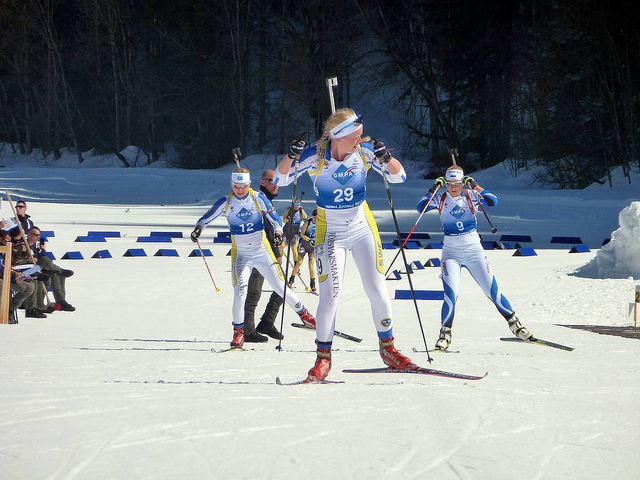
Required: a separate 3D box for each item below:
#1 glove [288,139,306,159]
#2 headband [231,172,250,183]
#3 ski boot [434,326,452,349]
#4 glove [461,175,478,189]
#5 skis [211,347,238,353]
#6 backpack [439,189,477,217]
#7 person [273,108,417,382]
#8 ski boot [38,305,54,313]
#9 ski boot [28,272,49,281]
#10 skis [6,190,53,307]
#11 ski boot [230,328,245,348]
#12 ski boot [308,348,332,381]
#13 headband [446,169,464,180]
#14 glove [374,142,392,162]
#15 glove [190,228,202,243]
[{"bbox_3d":[-0.273,-1.023,9.661,0.153,0.185,0.199,10,3,25],"label":"glove"},{"bbox_3d":[-1.092,-0.841,11.690,0.177,0.088,0.170,-4,7,-39],"label":"headband"},{"bbox_3d":[1.612,1.299,11.388,0.152,0.250,0.371,0,8,19],"label":"ski boot"},{"bbox_3d":[2.099,-0.820,11.960,0.210,0.079,0.153,34,-6,-16],"label":"glove"},{"bbox_3d":[-1.307,1.447,11.297,0.366,0.037,0.241,1,9,22],"label":"skis"},{"bbox_3d":[1.893,-0.541,11.942,0.318,0.455,0.441,-6,-3,10],"label":"backpack"},{"bbox_3d":[0.295,0.060,9.849,1.374,3.081,0.496,-4,8,-4],"label":"person"},{"bbox_3d":[-4.284,1.097,13.539,0.079,0.121,0.319,0,8,22],"label":"ski boot"},{"bbox_3d":[-4.288,0.566,13.221,0.265,0.155,0.227,-4,8,-10],"label":"ski boot"},{"bbox_3d":[-5.466,0.142,16.322,0.060,3.190,0.236,-28,-11,16],"label":"skis"},{"bbox_3d":[-1.099,1.307,11.445,0.189,0.262,0.242,-5,8,-10],"label":"ski boot"},{"bbox_3d":[-0.002,1.420,9.940,0.181,0.338,0.513,7,16,20],"label":"ski boot"},{"bbox_3d":[1.858,-0.912,11.932,0.253,0.147,0.183,-4,8,-6],"label":"headband"},{"bbox_3d":[0.716,-0.994,9.734,0.172,0.226,0.257,2,9,31],"label":"glove"},{"bbox_3d":[-1.717,-0.065,11.984,0.201,0.124,0.088,-47,-18,24],"label":"glove"}]
